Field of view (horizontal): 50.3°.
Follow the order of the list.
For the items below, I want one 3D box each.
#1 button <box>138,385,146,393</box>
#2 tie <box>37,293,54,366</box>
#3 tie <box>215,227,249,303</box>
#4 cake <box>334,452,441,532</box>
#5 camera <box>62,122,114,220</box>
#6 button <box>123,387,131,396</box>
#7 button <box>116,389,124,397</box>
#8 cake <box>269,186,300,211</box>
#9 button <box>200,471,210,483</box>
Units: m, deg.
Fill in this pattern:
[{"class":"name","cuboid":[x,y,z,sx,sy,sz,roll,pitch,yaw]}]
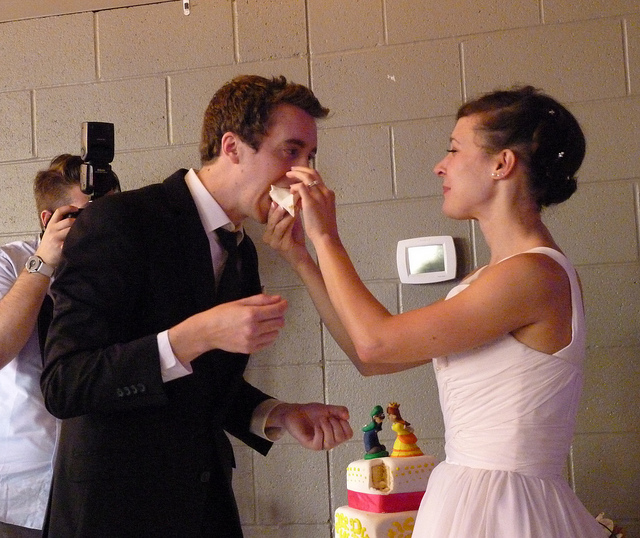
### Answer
[{"class":"button","cuboid":[-0.427,0.288,1.639,0.019,0.018,0.008,-1,1,-6]},{"class":"tie","cuboid":[-0.924,0.200,2.282,0.050,0.224,0.010,18,14,14]},{"class":"tie","cuboid":[-0.261,-0.017,1.989,0.126,0.186,0.050,4,-4,-36]},{"class":"cake","cuboid":[0.182,0.633,2.093,0.281,0.261,0.274,7,-15,-25]},{"class":"camera","cuboid":[-0.778,-0.328,2.291,0.186,0.323,0.101,0,1,32]},{"class":"button","cuboid":[-0.462,0.295,1.640,0.018,0.018,0.005,-1,6,-6]},{"class":"button","cuboid":[-0.479,0.298,1.639,0.013,0.018,0.018,5,7,3]},{"class":"cake","cuboid":[-0.103,-0.205,2.002,0.081,0.068,0.028,24,-4,34]},{"class":"button","cuboid":[-0.303,0.551,1.802,0.028,0.031,0.008,-2,1,-40]}]
